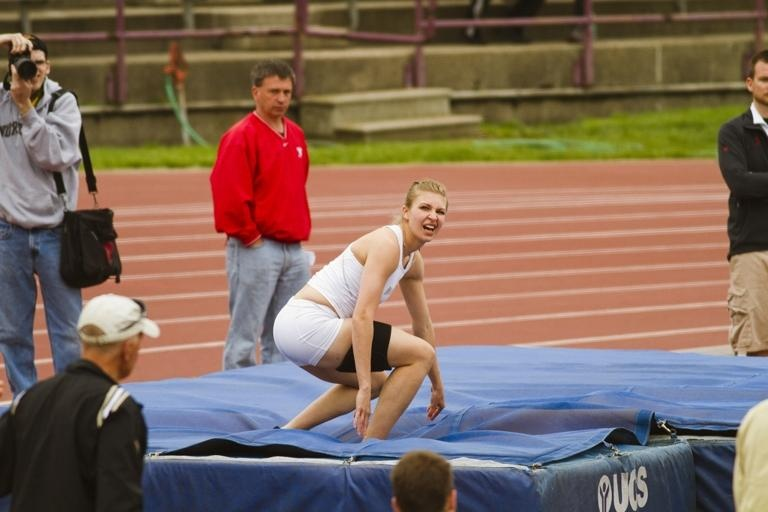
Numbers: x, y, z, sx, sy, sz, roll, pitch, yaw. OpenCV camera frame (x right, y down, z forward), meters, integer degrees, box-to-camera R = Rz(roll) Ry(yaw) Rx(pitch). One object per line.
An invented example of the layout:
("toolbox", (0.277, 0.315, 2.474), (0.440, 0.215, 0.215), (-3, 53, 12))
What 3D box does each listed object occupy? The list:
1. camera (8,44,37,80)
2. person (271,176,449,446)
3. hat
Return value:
("camera", (-3.130, -1.647, 15.436), (0.199, 0.262, 0.292), (-21, 14, -11))
("person", (-0.160, 0.428, 15.030), (1.402, 2.132, 0.614), (0, 4, -1))
("hat", (-2.102, 0.469, 14.035), (0.546, 0.248, 0.383), (-1, 8, -30))
